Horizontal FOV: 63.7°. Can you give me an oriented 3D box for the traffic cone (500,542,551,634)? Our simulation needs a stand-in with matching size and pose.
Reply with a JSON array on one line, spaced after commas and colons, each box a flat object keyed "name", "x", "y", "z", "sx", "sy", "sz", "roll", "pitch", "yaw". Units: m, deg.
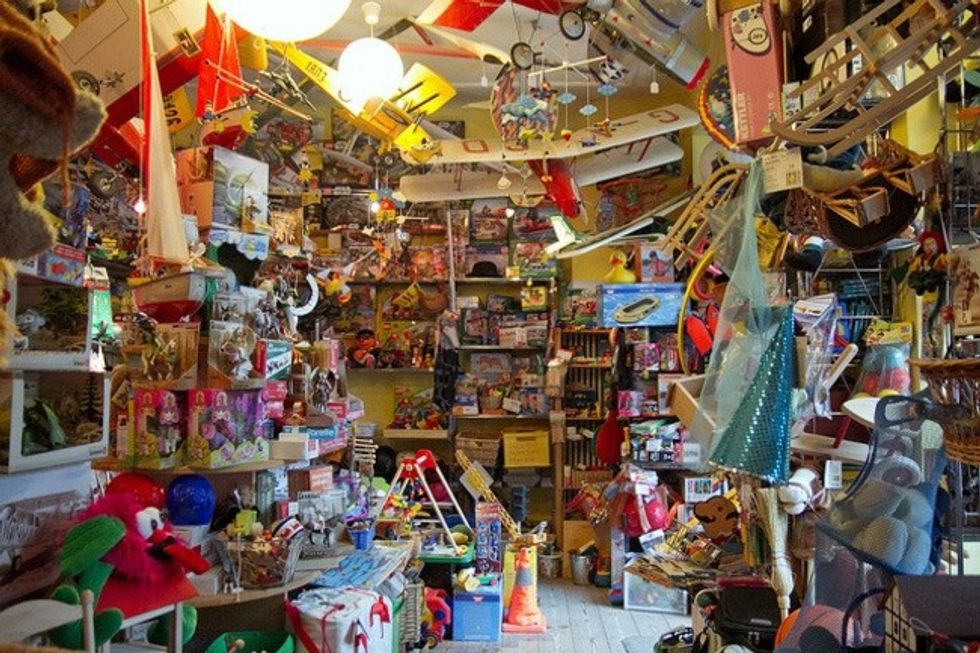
[{"name": "traffic cone", "x": 0.206, "y": 2.065, "z": 6.139, "sx": 0.452, "sy": 0.700, "sz": 0.504, "roll": 0, "pitch": -7, "yaw": -1}]

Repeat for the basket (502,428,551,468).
[{"name": "basket", "x": 0.361, "y": 1.234, "z": 7.898, "sx": 0.373, "sy": 0.230, "sz": 0.377, "roll": 0, "pitch": -1, "yaw": 3}]

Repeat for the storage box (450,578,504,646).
[{"name": "storage box", "x": -0.106, "y": 2.099, "z": 5.665, "sx": 0.316, "sy": 0.357, "sz": 0.553, "roll": 0, "pitch": -8, "yaw": 4}]

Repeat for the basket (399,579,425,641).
[{"name": "basket", "x": -0.516, "y": 1.840, "z": 5.109, "sx": 0.250, "sy": 0.392, "sz": 0.100, "roll": 3, "pitch": -16, "yaw": -13}]

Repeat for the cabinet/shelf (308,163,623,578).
[{"name": "cabinet/shelf", "x": -0.153, "y": 0.403, "z": 7.179, "sx": 2.089, "sy": 3.827, "sz": 0.815, "roll": -3, "pitch": -7, "yaw": 10}]
